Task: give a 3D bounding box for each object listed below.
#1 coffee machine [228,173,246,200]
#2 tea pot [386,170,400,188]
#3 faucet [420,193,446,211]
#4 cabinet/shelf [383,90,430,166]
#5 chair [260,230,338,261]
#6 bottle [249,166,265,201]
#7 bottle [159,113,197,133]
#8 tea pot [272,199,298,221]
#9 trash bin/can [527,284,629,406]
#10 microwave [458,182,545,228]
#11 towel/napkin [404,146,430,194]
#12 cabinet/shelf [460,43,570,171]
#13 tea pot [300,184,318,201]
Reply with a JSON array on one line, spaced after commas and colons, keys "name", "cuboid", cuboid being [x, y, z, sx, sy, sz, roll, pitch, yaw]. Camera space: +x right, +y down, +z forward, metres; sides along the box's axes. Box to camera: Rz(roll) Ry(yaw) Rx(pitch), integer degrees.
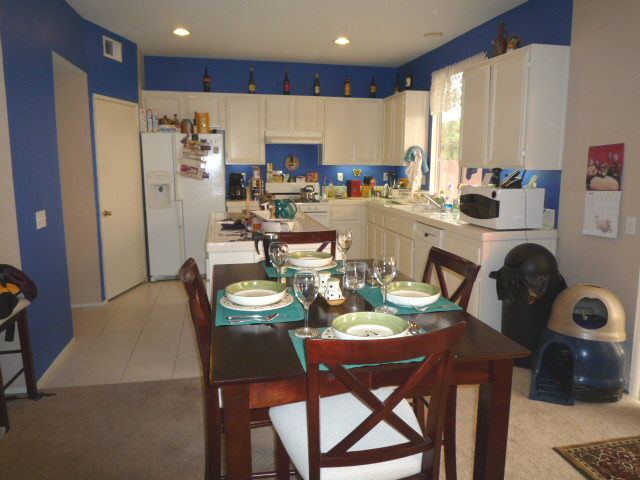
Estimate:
[{"name": "coffee machine", "cuboid": [-1.111, -0.719, 6.391, 0.213, 0.343, 0.165, -2, 10, -11]}, {"name": "tea pot", "cuboid": [1.047, -0.873, 6.863, 0.162, 0.218, 0.425, 0, 10, 0]}, {"name": "faucet", "cuboid": [1.236, -0.414, 5.284, 0.173, 0.159, 0.549, 1, 10, 7]}, {"name": "cabinet/shelf", "cuboid": [1.118, -1.438, 6.144, 0.317, 0.921, 0.918, -2, 12, -9]}, {"name": "chair", "cuboid": [-0.058, -0.007, 3.428, 0.379, 0.192, 0.246, -3, 18, -12]}, {"name": "bottle", "cuboid": [-0.854, -0.781, 6.487, 0.206, 0.424, 0.588, -1, 10, -9]}, {"name": "bottle", "cuboid": [-1.777, -1.463, 6.052, 0.440, 0.209, 0.250, -10, 18, -41]}, {"name": "tea pot", "cuboid": [-0.319, -0.281, 4.359, 0.191, 0.180, 0.215, -1, 10, -5]}, {"name": "trash bin/can", "cuboid": [1.889, 0.754, 3.787, 0.819, 0.913, 0.692, -1, 4, -24]}, {"name": "microwave", "cuboid": [1.564, -0.289, 4.143, 0.381, 0.319, 0.566, -1, 8, -7]}, {"name": "towel/napkin", "cuboid": [1.203, -0.899, 6.059, 0.293, 0.600, 0.266, 2, 10, 12]}, {"name": "cabinet/shelf", "cuboid": [1.684, -1.125, 4.098, 0.428, 1.152, 1.122, -2, 7, -14]}, {"name": "tea pot", "cuboid": [-0.134, -0.654, 6.566, 0.265, 0.243, 0.187, -10, 20, -36]}]
